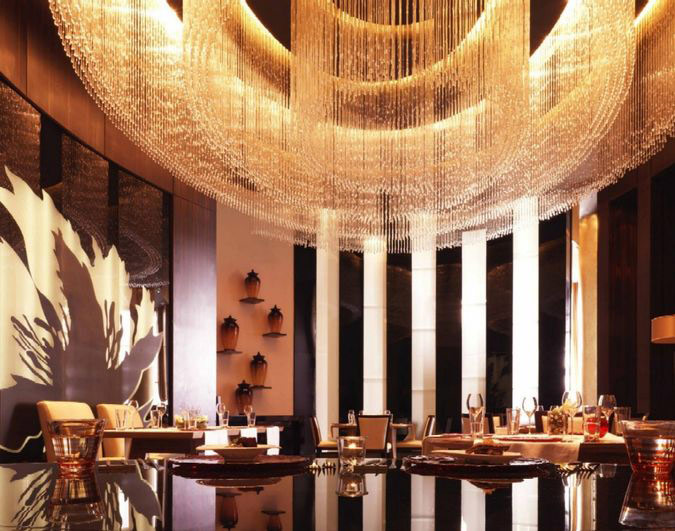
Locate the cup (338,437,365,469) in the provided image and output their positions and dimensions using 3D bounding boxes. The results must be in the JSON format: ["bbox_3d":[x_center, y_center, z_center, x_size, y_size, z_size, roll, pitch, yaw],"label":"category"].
[{"bbox_3d":[0.048,0.612,2.558,0.081,0.089,0.089,0,-10,0],"label":"cup"}]

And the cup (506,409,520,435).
[{"bbox_3d":[1.149,1.014,5.098,0.072,0.165,0.180,0,-6,9],"label":"cup"}]

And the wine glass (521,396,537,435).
[{"bbox_3d":[1.388,1.075,5.641,0.108,0.315,0.120,1,16,26],"label":"wine glass"}]

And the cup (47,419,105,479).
[{"bbox_3d":[-0.780,0.534,2.353,0.132,0.193,0.152,3,2,-14],"label":"cup"}]

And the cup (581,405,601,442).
[{"bbox_3d":[1.412,0.874,4.338,0.096,0.201,0.102,-1,-1,0],"label":"cup"}]
